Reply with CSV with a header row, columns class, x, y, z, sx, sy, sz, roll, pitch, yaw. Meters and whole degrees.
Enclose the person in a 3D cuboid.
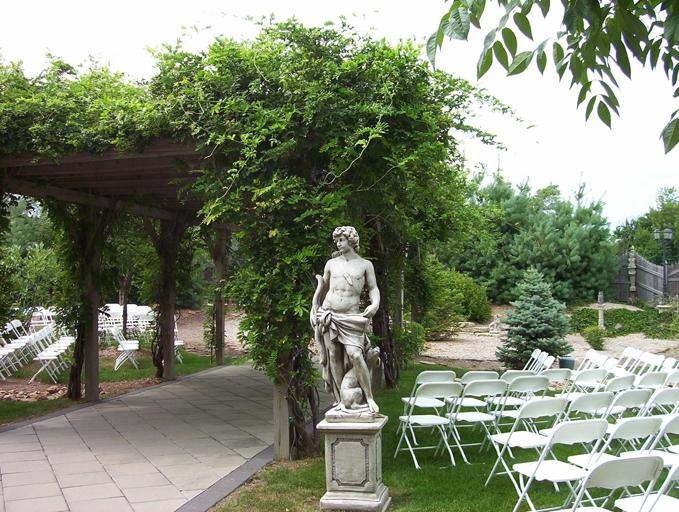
class,x,y,z,sx,sy,sz,roll,pitch,yaw
person,0.049,0.576,5.633,0.648,1.777,0.388,1,-3,-2
